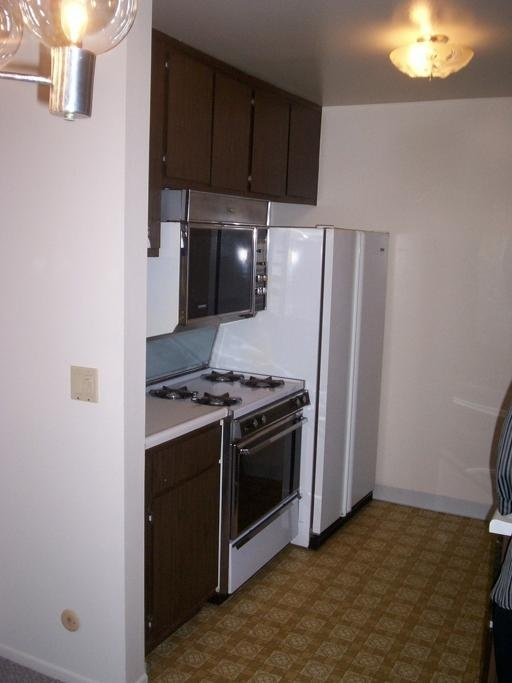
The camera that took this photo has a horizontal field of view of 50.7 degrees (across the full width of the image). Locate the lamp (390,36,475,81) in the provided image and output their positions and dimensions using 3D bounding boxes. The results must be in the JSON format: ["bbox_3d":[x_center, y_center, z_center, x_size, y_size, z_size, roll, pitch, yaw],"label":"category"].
[{"bbox_3d":[0.742,-1.192,2.268,0.295,0.125,0.238,0,6,-26],"label":"lamp"}]

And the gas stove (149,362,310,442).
[{"bbox_3d":[-0.296,0.265,2.614,0.622,0.104,1.280,7,7,32],"label":"gas stove"}]

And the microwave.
[{"bbox_3d":[-0.203,-0.386,2.625,0.230,0.704,0.789,5,6,33],"label":"microwave"}]
